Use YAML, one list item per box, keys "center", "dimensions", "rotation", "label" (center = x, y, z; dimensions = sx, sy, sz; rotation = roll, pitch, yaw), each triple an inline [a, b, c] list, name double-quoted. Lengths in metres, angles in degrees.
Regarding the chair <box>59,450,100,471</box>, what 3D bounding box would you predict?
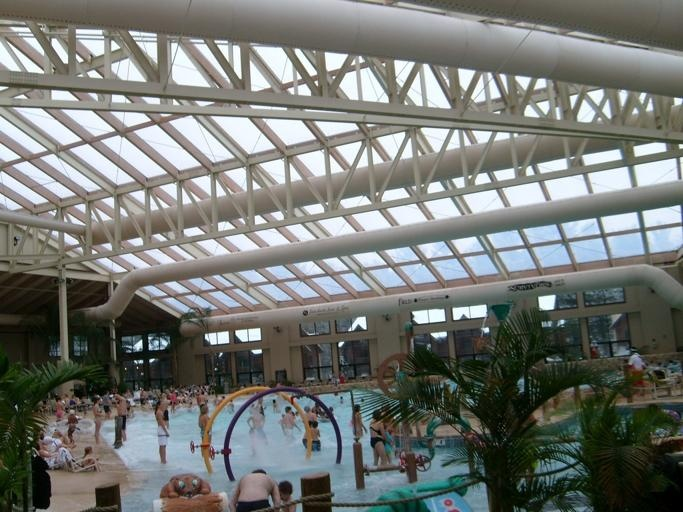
- center: [-6.406, 5.008, 14.146]
  dimensions: [0.737, 0.390, 0.708]
  rotation: [2, -13, -8]
  label: "chair"
